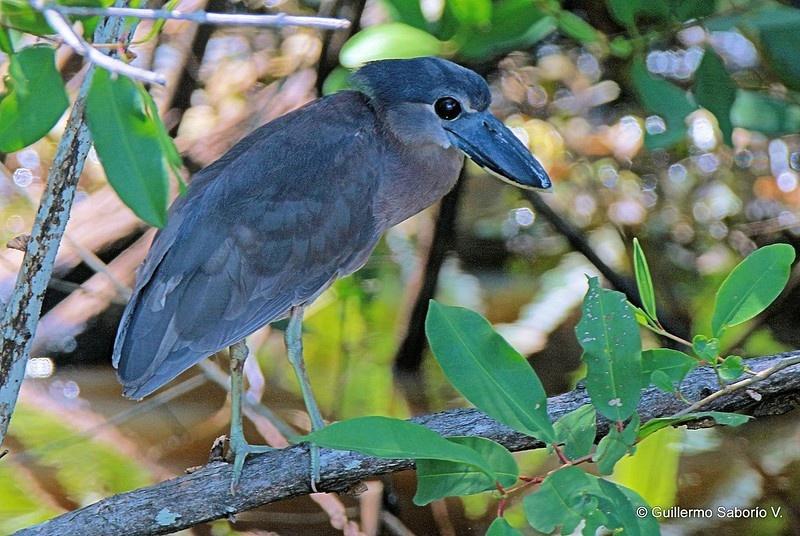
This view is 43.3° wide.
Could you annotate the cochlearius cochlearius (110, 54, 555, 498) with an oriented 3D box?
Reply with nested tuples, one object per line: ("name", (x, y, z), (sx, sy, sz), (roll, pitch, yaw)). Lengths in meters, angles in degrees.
("cochlearius cochlearius", (-0.119, -0.010, 2.008), (1.018, 0.731, 0.313), (-12, 14, -28))
